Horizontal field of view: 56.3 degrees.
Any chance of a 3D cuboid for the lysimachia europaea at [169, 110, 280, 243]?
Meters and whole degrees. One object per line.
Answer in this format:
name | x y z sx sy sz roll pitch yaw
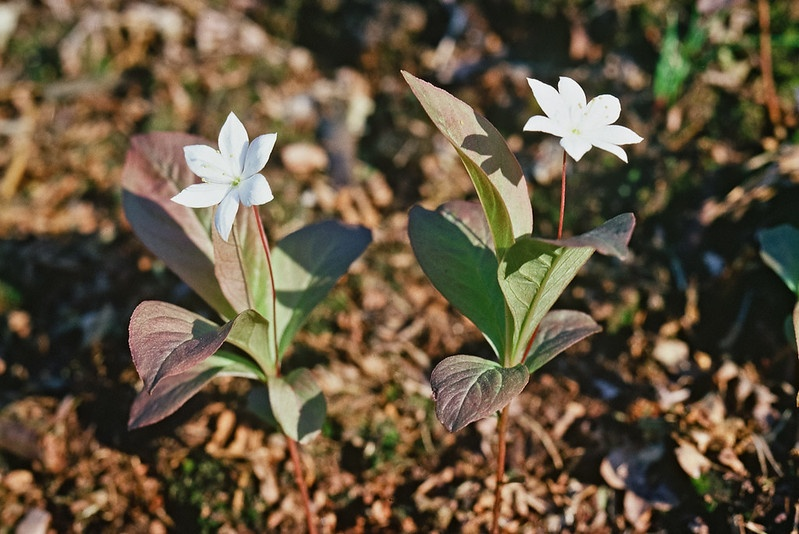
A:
lysimachia europaea | -0.813 -0.366 3.472 0.438 0.568 0.427 1 29 -9
